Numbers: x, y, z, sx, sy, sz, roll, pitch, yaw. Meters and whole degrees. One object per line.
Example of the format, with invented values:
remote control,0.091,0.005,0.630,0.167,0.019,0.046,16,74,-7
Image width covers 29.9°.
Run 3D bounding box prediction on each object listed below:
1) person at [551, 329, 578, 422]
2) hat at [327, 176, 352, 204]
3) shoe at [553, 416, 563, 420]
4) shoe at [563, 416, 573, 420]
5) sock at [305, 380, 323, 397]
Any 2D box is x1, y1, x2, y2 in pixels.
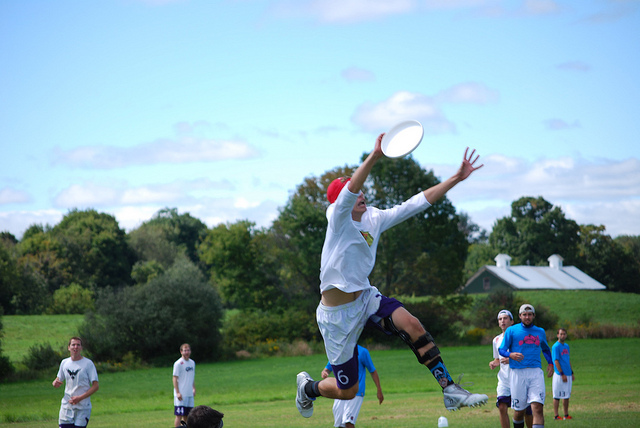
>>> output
person,9.408,6.287,46.630,0.769,3.522,1.268,-5,-9,12
hat,0.638,-0.792,40.709,0.531,0.966,1.119,2,-11,-32
shoe,9.157,7.910,46.069,0.326,0.153,0.123,-3,-4,11
shoe,9.547,7.896,46.054,0.334,0.240,0.115,-14,3,11
sock,-0.200,6.186,41.900,0.561,0.266,0.422,20,17,42
